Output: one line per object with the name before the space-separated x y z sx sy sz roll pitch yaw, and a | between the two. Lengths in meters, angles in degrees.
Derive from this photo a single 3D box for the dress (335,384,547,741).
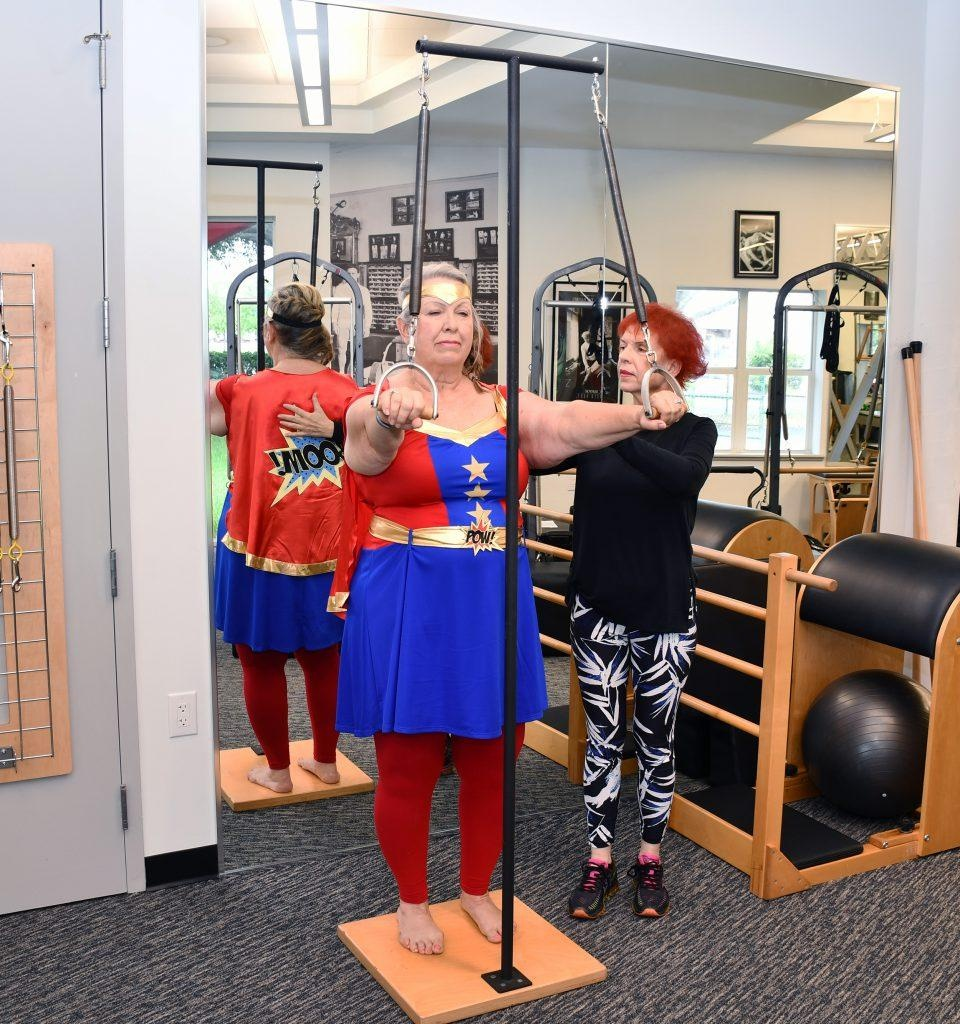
dress | -0.121 0.103 1.820 0.349 0.700 0.161 0 4 -7

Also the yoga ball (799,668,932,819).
yoga ball | 1.082 0.684 2.733 0.380 0.465 0.380 -1 -29 -1

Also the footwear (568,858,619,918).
footwear | 0.270 0.898 2.189 0.062 0.077 0.165 -1 -3 22

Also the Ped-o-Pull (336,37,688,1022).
Ped-o-Pull | 0.021 0.119 1.999 0.760 2.119 0.607 -1 6 -9

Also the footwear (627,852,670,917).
footwear | 0.403 0.895 2.195 0.062 0.068 0.147 -1 -1 6
